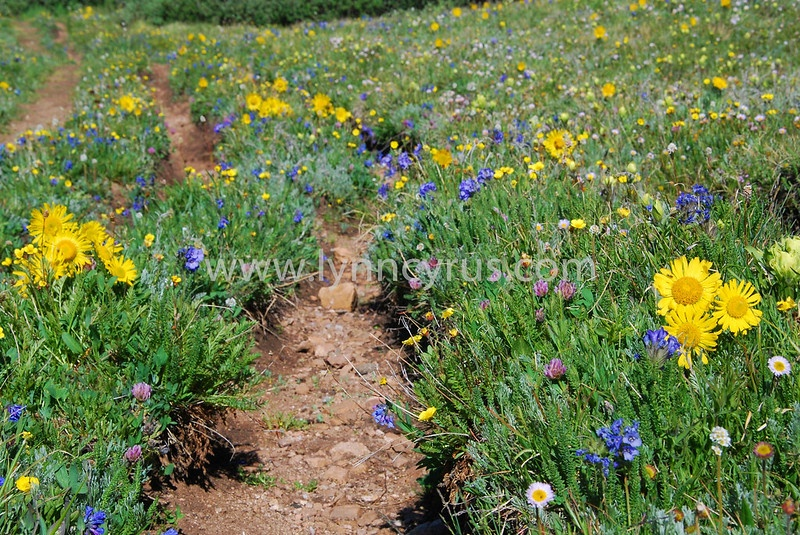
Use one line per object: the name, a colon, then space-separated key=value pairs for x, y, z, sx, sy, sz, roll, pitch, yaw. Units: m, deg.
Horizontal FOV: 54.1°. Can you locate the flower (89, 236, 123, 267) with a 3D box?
flower: x=-2.392 y=-0.116 z=6.357 sx=0.214 sy=0.084 sz=0.221 roll=50 pitch=31 yaw=1

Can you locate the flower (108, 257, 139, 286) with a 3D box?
flower: x=-2.247 y=0.020 z=6.326 sx=0.080 sy=0.248 sz=0.218 roll=-26 pitch=-9 yaw=38

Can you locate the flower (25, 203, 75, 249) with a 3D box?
flower: x=-2.828 y=-0.383 z=6.397 sx=0.423 sy=0.158 sz=0.410 roll=27 pitch=1 yaw=-17

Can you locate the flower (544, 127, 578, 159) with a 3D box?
flower: x=1.526 y=-1.224 z=7.320 sx=0.292 sy=0.323 sz=0.113 roll=28 pitch=-3 yaw=14

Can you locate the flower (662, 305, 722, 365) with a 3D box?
flower: x=2.039 y=0.450 z=5.482 sx=0.424 sy=0.128 sz=0.432 roll=-10 pitch=33 yaw=-9

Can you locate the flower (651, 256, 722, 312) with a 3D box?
flower: x=2.041 y=0.100 z=5.580 sx=0.509 sy=0.218 sz=0.547 roll=-20 pitch=12 yaw=-14
